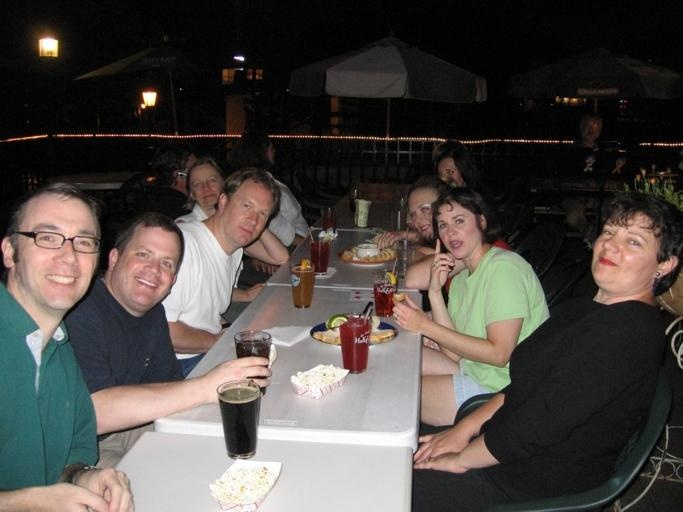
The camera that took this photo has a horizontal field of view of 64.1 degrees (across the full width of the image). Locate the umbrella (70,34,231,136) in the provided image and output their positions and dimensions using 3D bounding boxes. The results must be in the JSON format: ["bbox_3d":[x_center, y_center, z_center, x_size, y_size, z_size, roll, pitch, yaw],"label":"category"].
[{"bbox_3d":[-2.948,-2.705,8.478,1.813,1.420,1.782,0,17,10],"label":"umbrella"}]

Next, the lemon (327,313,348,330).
[{"bbox_3d":[-0.020,0.307,2.568,0.037,0.067,0.133,3,-18,-28],"label":"lemon"}]

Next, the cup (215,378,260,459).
[{"bbox_3d":[-0.344,0.560,1.865,0.135,0.243,0.129,0,9,0],"label":"cup"}]

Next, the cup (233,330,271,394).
[{"bbox_3d":[-0.369,0.410,2.277,0.144,0.143,0.158,15,29,-9],"label":"cup"}]

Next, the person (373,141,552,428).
[{"bbox_3d":[0.677,0.145,3.661,1.262,2.121,1.090,2,15,7],"label":"person"}]
